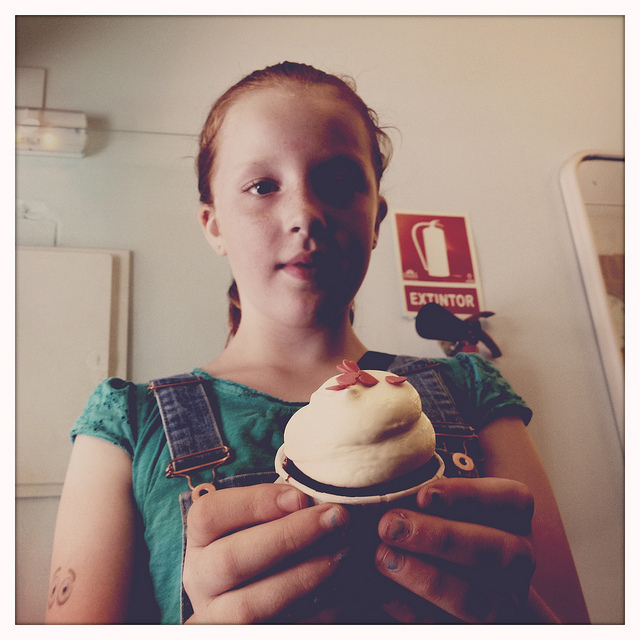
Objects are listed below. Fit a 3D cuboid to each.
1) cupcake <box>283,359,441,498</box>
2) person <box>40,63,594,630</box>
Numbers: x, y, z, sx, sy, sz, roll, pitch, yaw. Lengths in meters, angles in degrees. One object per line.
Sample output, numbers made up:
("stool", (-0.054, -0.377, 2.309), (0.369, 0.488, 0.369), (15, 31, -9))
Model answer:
("cupcake", (0.071, 0.188, 1.235), (0.301, 0.199, 0.275), (-8, 12, -17))
("person", (-0.002, 0.048, 1.546), (0.970, 1.251, 0.923), (-2, -1, 39))
